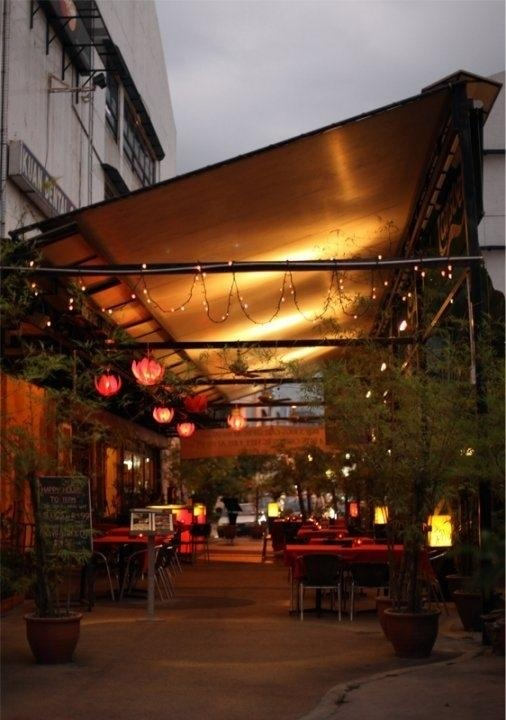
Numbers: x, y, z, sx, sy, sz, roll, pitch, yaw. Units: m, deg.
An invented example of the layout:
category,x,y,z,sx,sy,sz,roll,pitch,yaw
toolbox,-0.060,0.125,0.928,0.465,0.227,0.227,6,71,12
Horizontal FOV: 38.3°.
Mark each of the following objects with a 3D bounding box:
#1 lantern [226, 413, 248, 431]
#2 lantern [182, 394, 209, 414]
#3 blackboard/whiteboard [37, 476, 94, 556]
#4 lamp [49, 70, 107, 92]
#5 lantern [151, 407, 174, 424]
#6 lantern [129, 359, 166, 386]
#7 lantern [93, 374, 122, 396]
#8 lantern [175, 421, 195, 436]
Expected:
category,x,y,z,sx,sy,sz,roll,pitch,yaw
lantern,-0.261,1.033,12.018,0.232,0.266,0.263,-3,-2,8
lantern,-0.875,0.593,11.183,0.336,0.427,0.443,5,-15,-28
blackboard/whiteboard,-1.280,1.068,4.926,0.035,0.580,0.460,-19,-22,24
lamp,-2.357,-3.652,9.859,0.715,0.358,0.446,-1,3,-1
lantern,-1.378,0.845,10.925,0.317,0.338,0.313,-3,-7,13
lantern,-1.125,0.129,7.808,0.260,0.330,0.295,-1,-2,12
lantern,-1.530,0.292,7.795,0.216,0.227,0.243,6,7,38
lantern,-1.184,1.254,12.684,0.251,0.406,0.260,1,1,40
